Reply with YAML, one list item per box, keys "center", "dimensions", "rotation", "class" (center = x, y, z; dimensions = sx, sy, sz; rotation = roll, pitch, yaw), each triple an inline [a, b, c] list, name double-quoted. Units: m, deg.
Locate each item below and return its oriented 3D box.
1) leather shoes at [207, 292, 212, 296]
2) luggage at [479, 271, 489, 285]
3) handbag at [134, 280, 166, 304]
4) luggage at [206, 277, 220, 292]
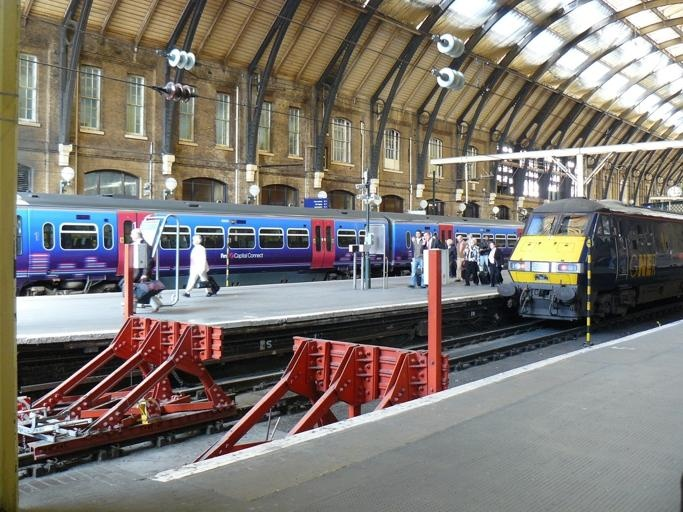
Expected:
- center: [-3.502, 1.048, 15.336]
  dimensions: [0.136, 0.090, 0.094]
  rotation: [2, 1, 14]
  class: "leather shoes"
- center: [5.092, 0.775, 20.331]
  dimensions: [0.226, 0.389, 0.276]
  rotation: [-25, 36, 23]
  class: "luggage"
- center: [-3.850, 0.728, 11.661]
  dimensions: [0.503, 0.198, 0.517]
  rotation: [0, 4, 44]
  class: "handbag"
- center: [-3.415, 0.813, 15.341]
  dimensions: [0.335, 0.350, 0.415]
  rotation: [1, -11, -4]
  class: "luggage"
